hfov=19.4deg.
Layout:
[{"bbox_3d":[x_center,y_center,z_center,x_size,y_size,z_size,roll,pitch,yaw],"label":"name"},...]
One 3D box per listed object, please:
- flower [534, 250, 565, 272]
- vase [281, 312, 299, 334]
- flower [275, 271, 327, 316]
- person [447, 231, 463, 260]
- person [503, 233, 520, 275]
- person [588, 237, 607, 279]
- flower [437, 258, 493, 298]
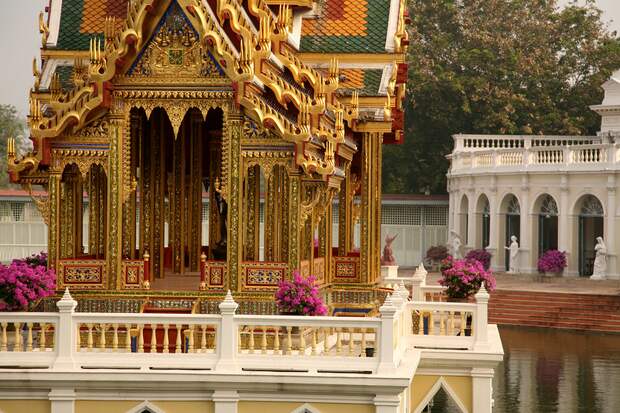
[{"bbox_3d":[9.036,1.958,68.503,0.851,0.698,0.836,0,-3,-1],"label":"flower"},{"bbox_3d":[-0.535,3.057,48.362,0.706,0.673,0.515,0,-1,1],"label":"vase"},{"bbox_3d":[-0.282,2.259,48.749,1.187,1.126,1.114,1,0,44],"label":"flower"},{"bbox_3d":[5.880,1.468,74.352,0.572,1.200,1.508,-1,-3,4],"label":"person"},{"bbox_3d":[7.756,1.785,70.285,0.520,1.436,1.607,-1,-3,6],"label":"person"},{"bbox_3d":[10.591,1.843,67.235,0.620,1.534,0.872,-1,-4,9],"label":"person"},{"bbox_3d":[4.443,2.108,54.539,1.584,1.136,1.623,4,8,-13],"label":"flower"}]
